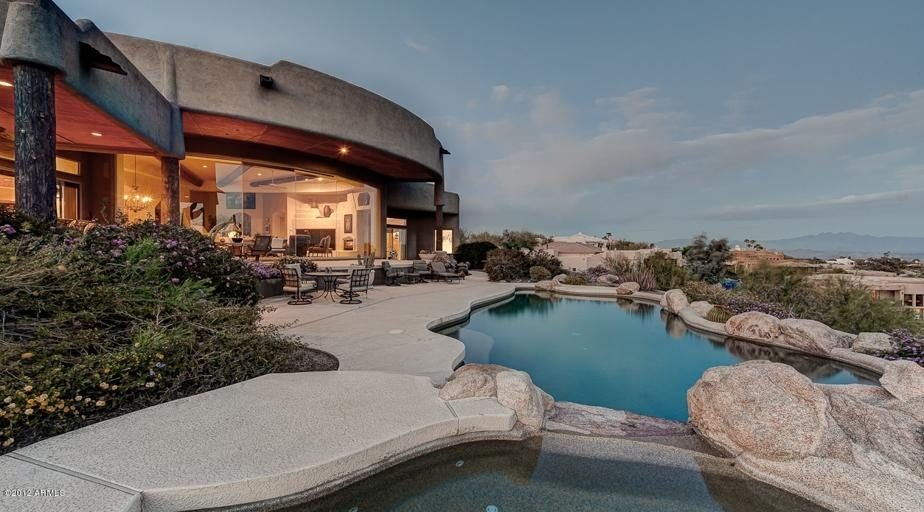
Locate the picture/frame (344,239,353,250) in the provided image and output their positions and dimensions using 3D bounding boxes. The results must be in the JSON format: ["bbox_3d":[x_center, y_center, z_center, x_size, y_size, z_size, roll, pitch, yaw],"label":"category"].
[{"bbox_3d":[-7.615,-0.813,30.537,0.735,0.607,0.390,-3,-6,27],"label":"picture/frame"}]

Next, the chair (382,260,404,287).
[{"bbox_3d":[-3.868,0.880,25.607,0.988,1.255,2.432,0,2,-3],"label":"chair"}]

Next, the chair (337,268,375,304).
[{"bbox_3d":[-4.807,1.266,20.742,1.690,1.617,1.556,1,1,10],"label":"chair"}]

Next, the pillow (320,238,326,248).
[{"bbox_3d":[-8.742,-0.875,28.650,0.258,0.499,0.699,-1,2,-32],"label":"pillow"}]

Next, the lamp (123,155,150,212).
[{"bbox_3d":[-17.470,-3.612,24.526,0.541,2.812,2.077,-1,2,-13],"label":"lamp"}]

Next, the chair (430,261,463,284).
[{"bbox_3d":[-1.048,0.934,26.599,1.184,0.838,1.609,0,0,-33],"label":"chair"}]

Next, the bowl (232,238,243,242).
[{"bbox_3d":[-12.294,-0.864,25.016,0.398,0.247,0.563,-2,2,-37],"label":"bowl"}]

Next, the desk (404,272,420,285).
[{"bbox_3d":[-2.871,1.165,26.042,0.799,0.577,1.331,0,2,-4],"label":"desk"}]

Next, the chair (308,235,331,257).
[{"bbox_3d":[-8.995,-0.599,29.274,1.288,1.593,1.589,-2,-3,43],"label":"chair"}]

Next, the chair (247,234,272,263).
[{"bbox_3d":[-10.574,-0.470,23.871,1.422,1.664,1.266,4,3,42],"label":"chair"}]

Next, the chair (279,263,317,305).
[{"bbox_3d":[-7.088,1.168,19.957,1.285,1.668,1.085,-2,2,-41],"label":"chair"}]

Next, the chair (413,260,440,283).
[{"bbox_3d":[-2.195,0.849,26.634,1.244,1.189,2.254,0,2,16],"label":"chair"}]
